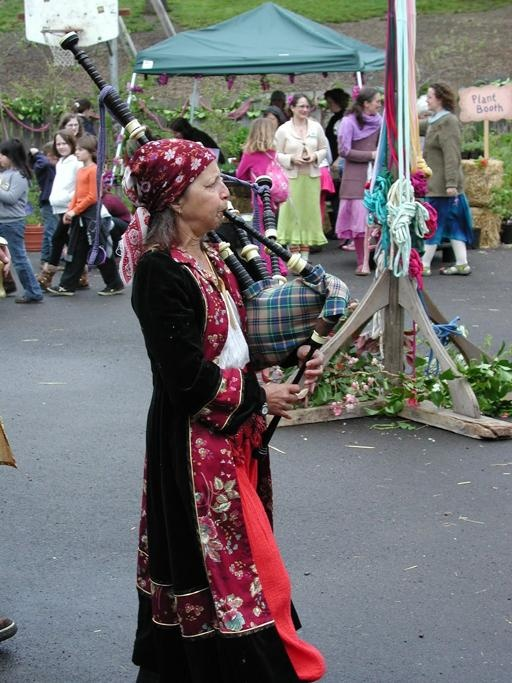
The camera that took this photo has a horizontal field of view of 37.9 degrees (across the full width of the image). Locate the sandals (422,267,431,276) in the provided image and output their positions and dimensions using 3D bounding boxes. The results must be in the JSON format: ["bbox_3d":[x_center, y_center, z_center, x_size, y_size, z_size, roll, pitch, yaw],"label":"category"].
[{"bbox_3d":[2.143,-0.900,9.310,0.108,0.132,0.573,1,12,12],"label":"sandals"}]

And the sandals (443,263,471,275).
[{"bbox_3d":[2.510,-0.914,9.316,0.319,0.107,0.151,4,10,16],"label":"sandals"}]

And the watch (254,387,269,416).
[{"bbox_3d":[0.014,0.137,1.698,0.047,0.062,0.062,1,29,3],"label":"watch"}]
